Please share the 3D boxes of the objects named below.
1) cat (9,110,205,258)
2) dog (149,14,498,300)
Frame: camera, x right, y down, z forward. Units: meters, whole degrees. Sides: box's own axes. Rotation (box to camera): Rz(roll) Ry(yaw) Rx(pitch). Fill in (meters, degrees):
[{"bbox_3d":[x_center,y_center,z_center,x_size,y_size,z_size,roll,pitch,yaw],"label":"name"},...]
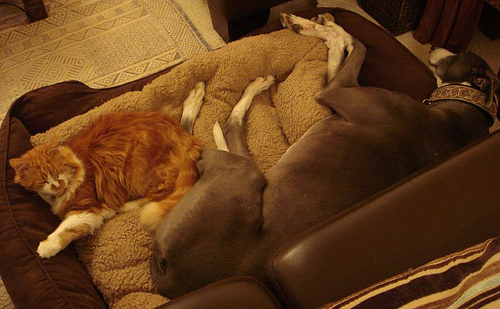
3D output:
[{"bbox_3d":[-0.696,0.205,2.281,0.845,0.361,0.612,-25,63,-12],"label":"cat"},{"bbox_3d":[0.379,0.057,2.461,1.188,0.524,1.624,42,90,0],"label":"dog"}]
